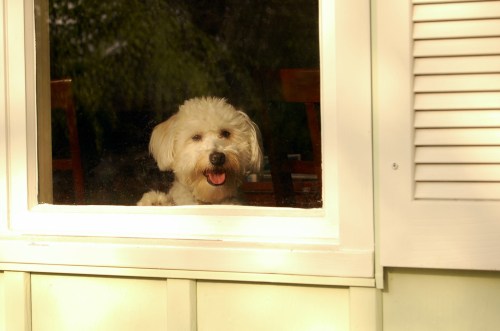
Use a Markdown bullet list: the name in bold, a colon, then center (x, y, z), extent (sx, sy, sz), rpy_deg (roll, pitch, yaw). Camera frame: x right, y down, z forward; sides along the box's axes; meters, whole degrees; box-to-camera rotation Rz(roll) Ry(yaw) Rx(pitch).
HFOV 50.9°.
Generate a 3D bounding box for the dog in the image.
- **dog**: center (-0.243, 0.053, 3.329), extent (0.799, 0.820, 0.607), rpy_deg (1, -9, 0)
